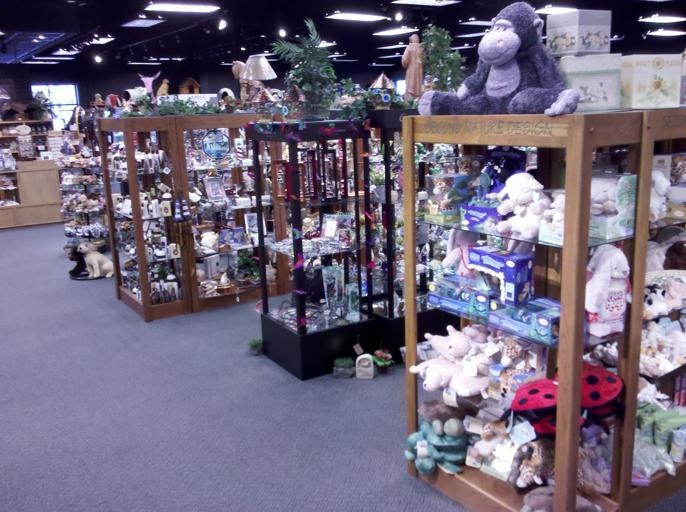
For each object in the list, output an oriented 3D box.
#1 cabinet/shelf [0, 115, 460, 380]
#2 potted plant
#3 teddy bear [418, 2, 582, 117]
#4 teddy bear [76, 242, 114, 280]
[{"bbox_3d":[-0.882,-0.226,5.643,3.350,1.831,3.265,-7,15,-36],"label":"cabinet/shelf"},{"bbox_3d":[-0.270,-1.505,4.331,0.408,0.744,0.267,-10,16,-12],"label":"potted plant"},{"bbox_3d":[0.849,-0.994,2.715,0.378,0.575,0.885,-18,18,-36],"label":"teddy bear"},{"bbox_3d":[-3.649,0.082,7.722,0.334,0.457,0.552,-10,-10,27],"label":"teddy bear"}]
